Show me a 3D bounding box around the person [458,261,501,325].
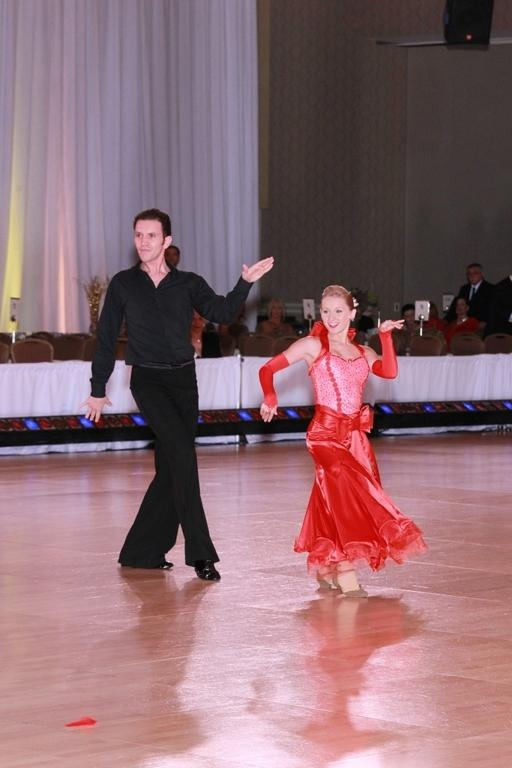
[{"bbox_3d":[3.707,-1.292,11.800,0.671,1.407,0.518,-5,-2,34],"label":"person"}]

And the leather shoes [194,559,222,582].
[{"bbox_3d":[-0.216,0.837,3.145,0.058,0.066,0.166,-3,-6,-24],"label":"leather shoes"}]

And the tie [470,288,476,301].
[{"bbox_3d":[3.633,-1.500,11.806,0.045,0.174,0.146,8,8,39],"label":"tie"}]

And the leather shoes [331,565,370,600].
[{"bbox_3d":[0.401,0.821,2.996,0.143,0.157,0.224,-1,6,6],"label":"leather shoes"}]

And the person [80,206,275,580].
[{"bbox_3d":[-0.374,0.062,3.263,0.771,1.703,0.519,-2,7,0],"label":"person"}]

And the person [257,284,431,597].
[{"bbox_3d":[0.360,0.232,3.047,0.663,1.301,0.452,-2,7,-1],"label":"person"}]
